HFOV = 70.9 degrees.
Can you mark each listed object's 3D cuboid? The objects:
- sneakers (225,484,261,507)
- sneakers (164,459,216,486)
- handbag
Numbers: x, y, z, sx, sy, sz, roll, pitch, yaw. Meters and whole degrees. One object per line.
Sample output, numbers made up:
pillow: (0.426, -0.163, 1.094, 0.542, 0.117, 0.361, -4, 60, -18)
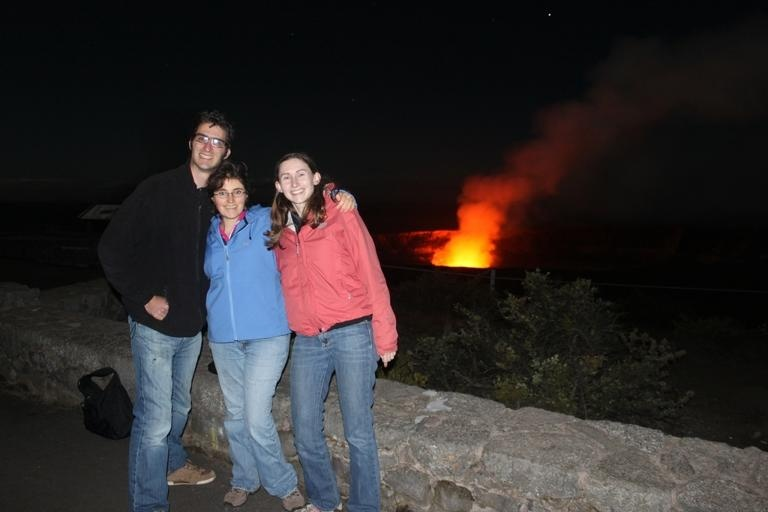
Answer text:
sneakers: (-1.331, 2.286, 5.160, 0.147, 0.109, 0.257, -1, -16, 22)
sneakers: (-1.859, 2.140, 5.365, 0.468, 0.204, 0.170, 0, 0, -9)
handbag: (-2.823, 1.553, 5.659, 0.502, 0.665, 0.373, -27, -8, 23)
